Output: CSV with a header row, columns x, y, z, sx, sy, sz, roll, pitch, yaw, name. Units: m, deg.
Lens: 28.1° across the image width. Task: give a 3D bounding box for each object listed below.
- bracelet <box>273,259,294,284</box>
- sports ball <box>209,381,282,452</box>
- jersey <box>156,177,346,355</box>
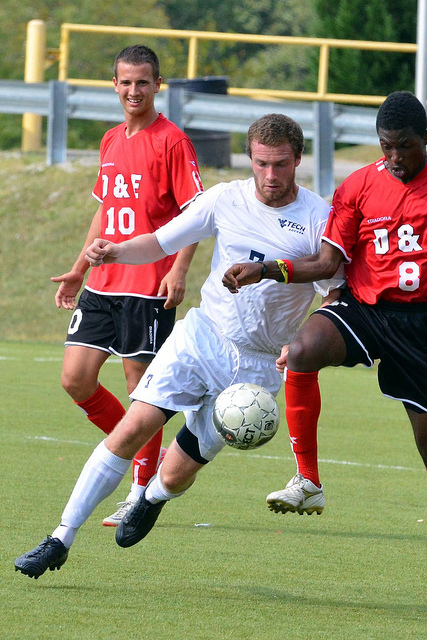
x,y,z,sx,sy,sz,roll,pitch,yaw,name
0.277,-0.194,3.361,0.076,0.081,0.069,5,1,7,bracelet
0.129,0.387,3.425,0.241,0.269,0.169,5,1,-38,sports ball
0.258,-0.335,3.866,0.663,0.802,0.802,-13,23,-41,jersey
